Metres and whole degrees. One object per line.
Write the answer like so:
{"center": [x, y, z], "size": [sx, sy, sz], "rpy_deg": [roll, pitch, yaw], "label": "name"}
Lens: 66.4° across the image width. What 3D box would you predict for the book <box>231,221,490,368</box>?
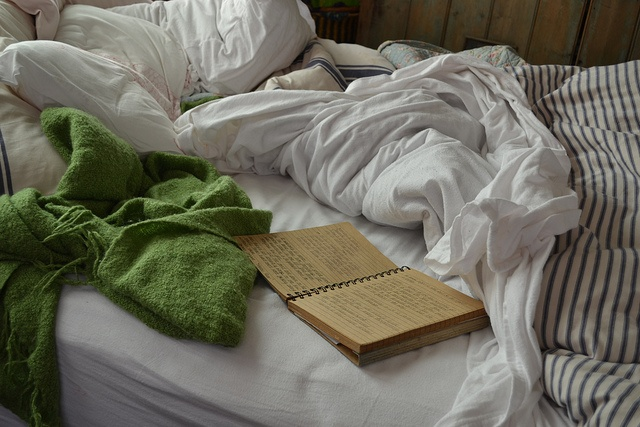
{"center": [0.073, 0.165, 1.157], "size": [0.292, 0.085, 0.461], "rpy_deg": [-16, 31, -26], "label": "book"}
